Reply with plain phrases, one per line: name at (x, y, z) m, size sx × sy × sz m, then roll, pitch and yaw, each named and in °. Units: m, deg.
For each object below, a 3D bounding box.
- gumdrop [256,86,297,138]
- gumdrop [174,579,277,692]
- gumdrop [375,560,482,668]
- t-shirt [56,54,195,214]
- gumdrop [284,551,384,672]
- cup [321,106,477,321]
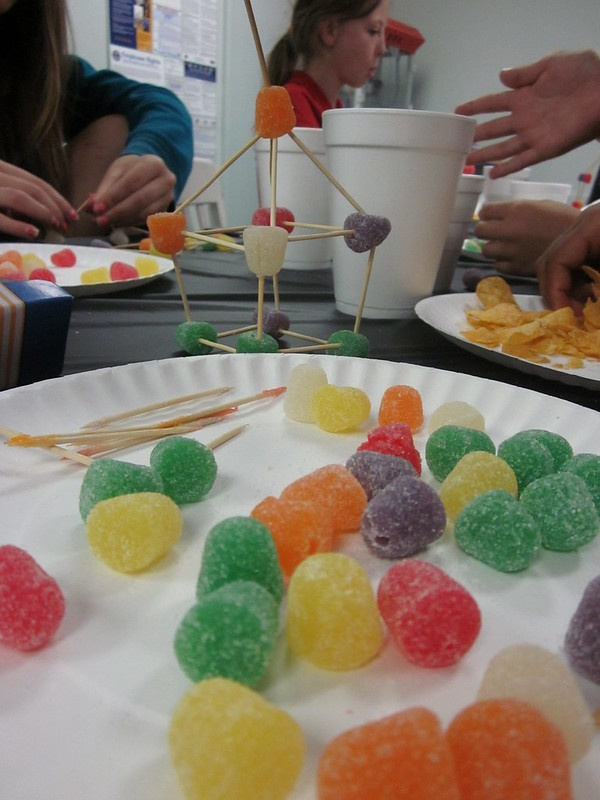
gumdrop at (-0.029, -0.311, 0.728) m, size 0.048 × 0.046 × 0.045 m, roll -1°, pitch 42°, yaw 5°
gumdrop at (-0.043, 0.139, 0.404) m, size 0.057 × 0.045 × 0.056 m, roll 5°, pitch 37°, yaw 1°
gumdrop at (0.086, 0.134, 0.442) m, size 0.059 × 0.053 × 0.068 m, roll 2°, pitch 8°, yaw 2°
t-shirt at (-0.501, -0.874, 2.062) m, size 0.435 × 0.168 × 0.506 m, roll -9°, pitch 53°, yaw -19°
gumdrop at (0.014, 0.127, 0.417) m, size 0.051 × 0.021 × 0.063 m, roll 1°, pitch 51°, yaw 3°
cup at (0.132, -0.287, 1.060) m, size 0.308 × 0.311 × 0.283 m, roll 1°, pitch 19°, yaw 0°
